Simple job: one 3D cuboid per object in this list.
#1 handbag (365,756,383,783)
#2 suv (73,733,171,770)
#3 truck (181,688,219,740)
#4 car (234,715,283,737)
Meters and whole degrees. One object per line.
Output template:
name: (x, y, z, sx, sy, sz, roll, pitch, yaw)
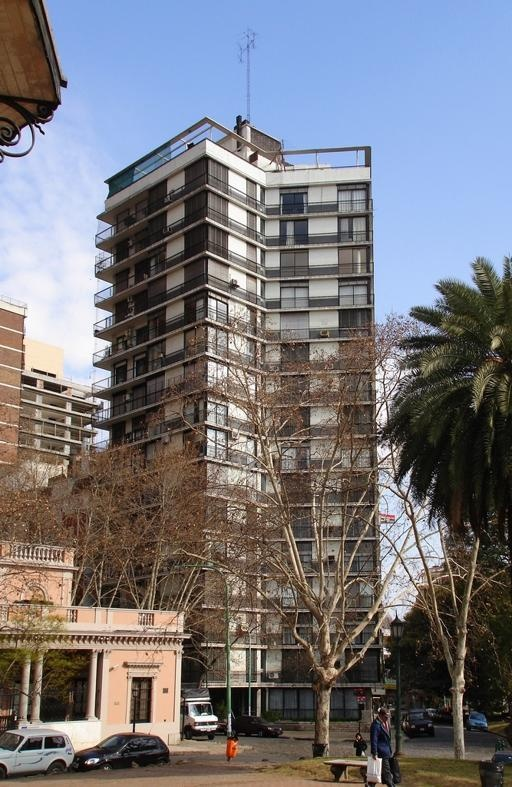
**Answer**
handbag: (2.064, 6.582, 18.193, 0.219, 0.434, 0.355, 1, -19, -2)
suv: (-3.772, 10.024, 29.125, 2.100, 1.016, 1.049, 20, -30, -28)
truck: (-2.715, 14.501, 46.999, 1.011, 2.182, 2.307, -7, -20, 19)
car: (-0.014, 15.869, 49.427, 0.970, 0.732, 2.115, 19, -32, -38)
